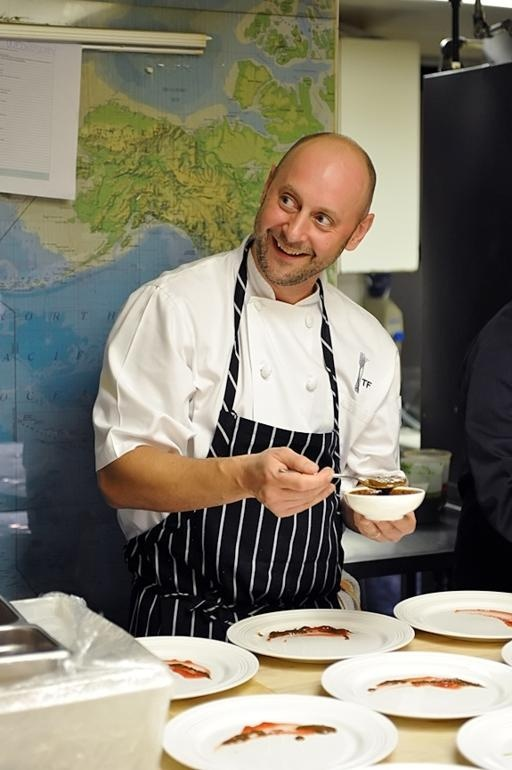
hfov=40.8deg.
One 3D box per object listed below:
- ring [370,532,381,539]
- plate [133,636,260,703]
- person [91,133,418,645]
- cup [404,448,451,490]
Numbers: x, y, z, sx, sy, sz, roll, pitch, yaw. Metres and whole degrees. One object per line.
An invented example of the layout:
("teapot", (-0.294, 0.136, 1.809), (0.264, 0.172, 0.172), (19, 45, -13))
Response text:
("ring", (0.259, 0.329, 1.504), (0.013, 0.023, 0.013), (2, 21, -1))
("plate", (-0.101, 0.417, 1.008), (0.190, 0.018, 0.180), (3, 7, 1))
("person", (0.030, -0.019, 1.578), (0.677, 1.137, 0.749), (-3, -3, 40))
("cup", (0.629, 0.311, 2.569), (0.185, 0.120, 0.153), (0, 2, 11))
